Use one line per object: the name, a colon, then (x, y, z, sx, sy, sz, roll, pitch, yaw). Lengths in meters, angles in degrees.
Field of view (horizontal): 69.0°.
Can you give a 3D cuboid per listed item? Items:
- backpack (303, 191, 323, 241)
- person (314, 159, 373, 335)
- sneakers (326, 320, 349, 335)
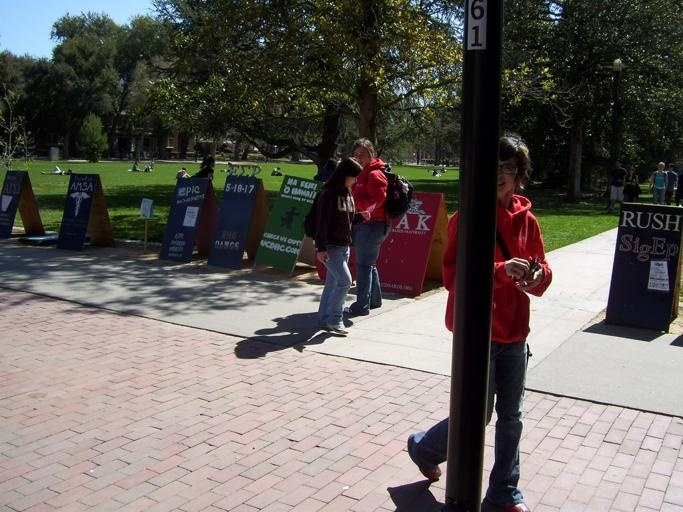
backpack: (-0.459, -0.552, 6.539, 0.136, 0.530, 0.395, 17, 4, 31)
person: (-0.092, -0.143, 6.578, 0.594, 2.266, 0.626, 2, 6, -4)
sneakers: (-0.071, 0.921, 6.563, 0.349, 0.145, 0.128, 6, 6, 23)
